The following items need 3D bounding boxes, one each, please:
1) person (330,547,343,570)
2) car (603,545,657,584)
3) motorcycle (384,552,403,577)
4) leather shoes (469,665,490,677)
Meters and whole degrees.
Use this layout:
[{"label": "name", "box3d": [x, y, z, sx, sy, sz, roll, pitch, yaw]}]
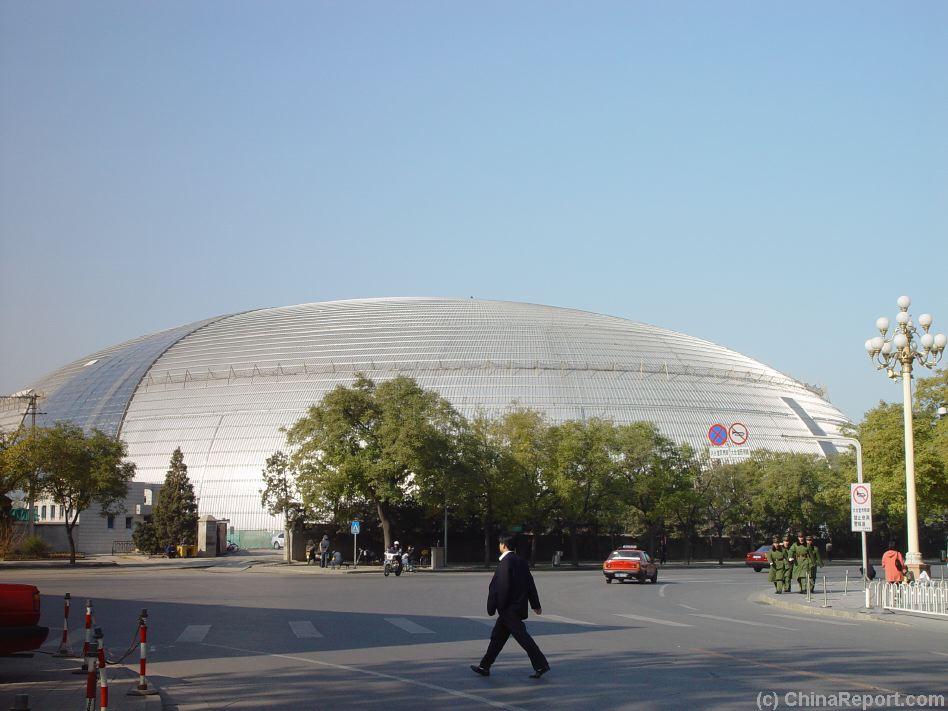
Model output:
[{"label": "person", "box3d": [-8.121, 12.019, 64.274, 1.053, 1.156, 2.074, 0, -22, -4]}, {"label": "car", "box3d": [7.116, 9.646, 50.078, 1.731, 1.641, 2.396, -8, -14, 26]}, {"label": "motorcycle", "box3d": [-4.305, 10.973, 57.598, 0.947, 1.330, 1.848, -1, -12, -7]}, {"label": "leather shoes", "box3d": [0.089, 6.584, 22.780, 0.429, 0.194, 0.156, 24, -3, 32]}]
